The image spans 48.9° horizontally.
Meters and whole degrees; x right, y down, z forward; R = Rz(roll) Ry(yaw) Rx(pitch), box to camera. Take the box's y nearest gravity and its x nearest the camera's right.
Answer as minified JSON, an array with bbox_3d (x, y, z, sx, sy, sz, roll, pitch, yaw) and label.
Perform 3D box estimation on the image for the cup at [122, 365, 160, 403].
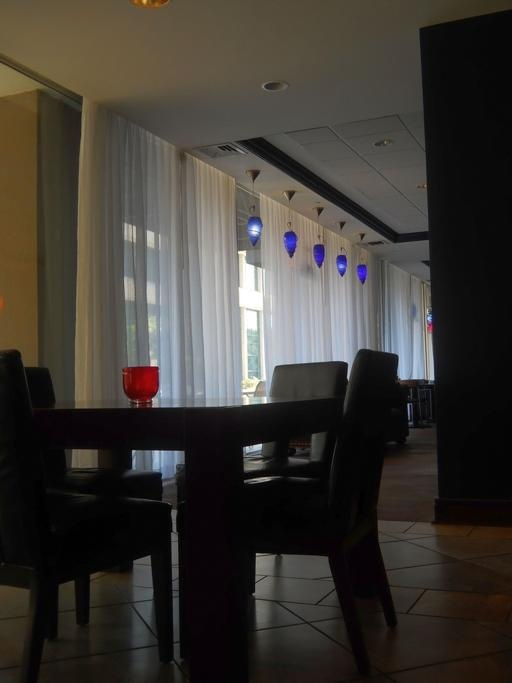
[{"bbox_3d":[-0.300,0.108,1.492,0.085,0.122,0.092,0,-4,0],"label":"cup"}]
